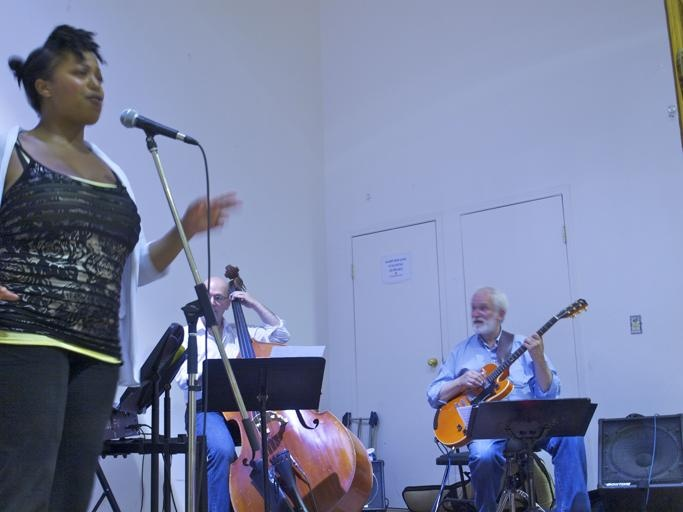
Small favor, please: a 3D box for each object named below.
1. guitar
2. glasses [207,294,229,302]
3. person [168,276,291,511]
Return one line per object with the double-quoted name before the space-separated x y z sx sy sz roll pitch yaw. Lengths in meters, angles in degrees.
"guitar" 1.001 0.774 5.591 0.815 0.803 0.431 0 -12 -9
"glasses" -0.804 0.270 5.719 0.127 0.042 0.143 2 -11 -6
"person" -0.735 0.857 5.530 0.666 1.502 0.504 -14 -11 8
